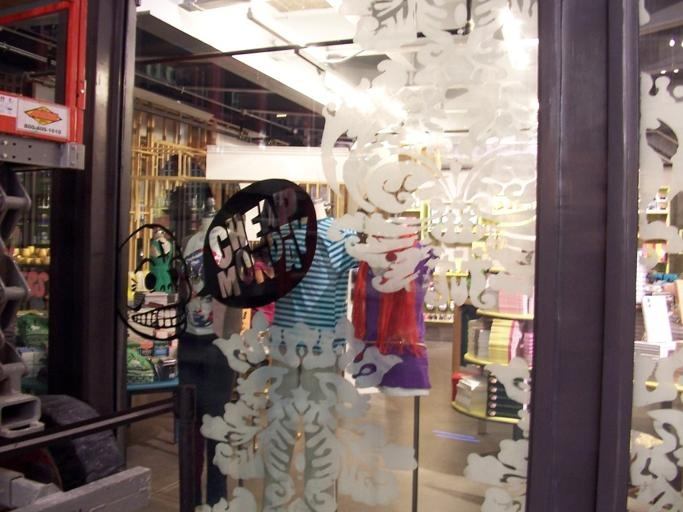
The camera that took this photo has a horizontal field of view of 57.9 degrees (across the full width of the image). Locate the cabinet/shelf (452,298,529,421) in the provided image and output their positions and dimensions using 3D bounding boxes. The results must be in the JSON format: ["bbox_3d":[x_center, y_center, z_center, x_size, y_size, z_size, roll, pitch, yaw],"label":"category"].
[{"bbox_3d":[0.592,0.420,2.469,0.272,0.406,0.379,4,0,-1],"label":"cabinet/shelf"}]
